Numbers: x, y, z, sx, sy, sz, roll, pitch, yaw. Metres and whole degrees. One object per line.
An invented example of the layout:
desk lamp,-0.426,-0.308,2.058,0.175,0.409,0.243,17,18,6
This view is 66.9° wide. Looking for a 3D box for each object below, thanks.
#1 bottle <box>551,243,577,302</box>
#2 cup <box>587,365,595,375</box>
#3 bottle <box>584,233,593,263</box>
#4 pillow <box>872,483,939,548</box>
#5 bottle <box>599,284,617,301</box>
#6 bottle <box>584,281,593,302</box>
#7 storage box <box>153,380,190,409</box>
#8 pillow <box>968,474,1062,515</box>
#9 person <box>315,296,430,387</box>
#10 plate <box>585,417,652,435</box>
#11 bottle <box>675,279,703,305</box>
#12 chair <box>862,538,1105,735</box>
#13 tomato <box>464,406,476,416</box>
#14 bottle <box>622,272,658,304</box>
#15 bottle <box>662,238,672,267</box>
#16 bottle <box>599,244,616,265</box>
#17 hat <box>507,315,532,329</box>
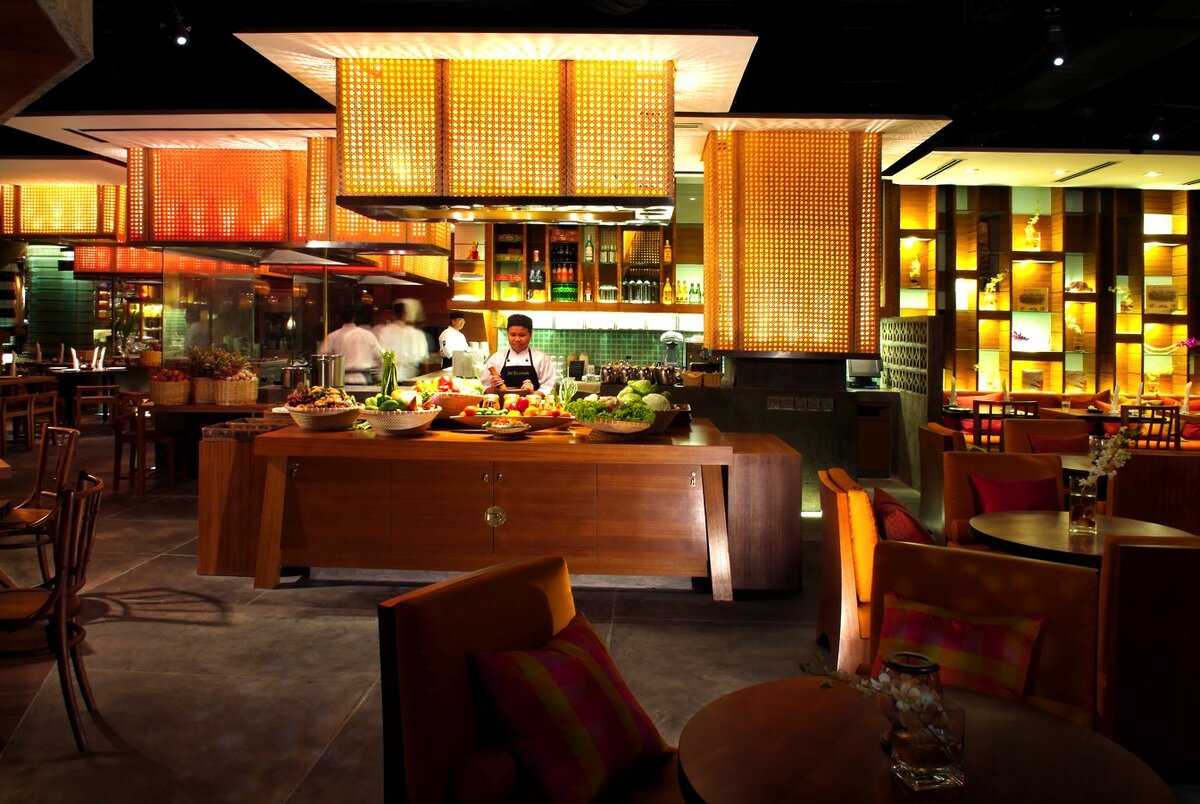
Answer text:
bottle,-0.508,-1.793,12.486,0.371,0.755,0.224,-1,13,-3
cup,-0.134,-0.444,12.599,0.137,0.120,0.222,1,2,1
bottle,-0.184,-2.133,12.502,0.127,0.410,0.109,1,13,9
pillow,1.679,0.679,5.055,0.335,0.225,0.581,2,13,12
bottle,0.098,-1.475,12.320,0.228,0.183,0.214,1,1,0
bottle,-0.173,-1.510,12.462,0.129,0.231,0.117,-1,13,-1
storage box,-4.572,-0.087,9.718,0.317,0.186,0.299,2,-3,-22
pillow,2.881,0.689,6.356,0.593,0.227,0.550,4,13,18
person,-2.831,-0.746,11.484,1.408,1.104,1.751,1,6,-12
plate,0.132,0.172,6.504,0.442,0.154,0.235,0,13,1
bottle,1.197,-1.520,12.556,0.352,0.277,0.390,-1,13,-1
chair,1.894,0.889,4.458,1.438,0.873,0.722,2,-3,26
tomato,-0.983,0.066,6.888,0.068,0.060,0.067,-12,16,-43
bottle,0.532,-1.559,12.458,0.486,0.370,0.369,0,13,1
bottle,0.901,-2.051,12.540,0.137,0.331,0.111,-2,13,-5
bottle,0.083,-2.033,12.531,0.225,0.237,0.108,-1,13,-1
hat,-0.868,-0.860,9.729,0.252,0.127,0.236,1,3,-1
